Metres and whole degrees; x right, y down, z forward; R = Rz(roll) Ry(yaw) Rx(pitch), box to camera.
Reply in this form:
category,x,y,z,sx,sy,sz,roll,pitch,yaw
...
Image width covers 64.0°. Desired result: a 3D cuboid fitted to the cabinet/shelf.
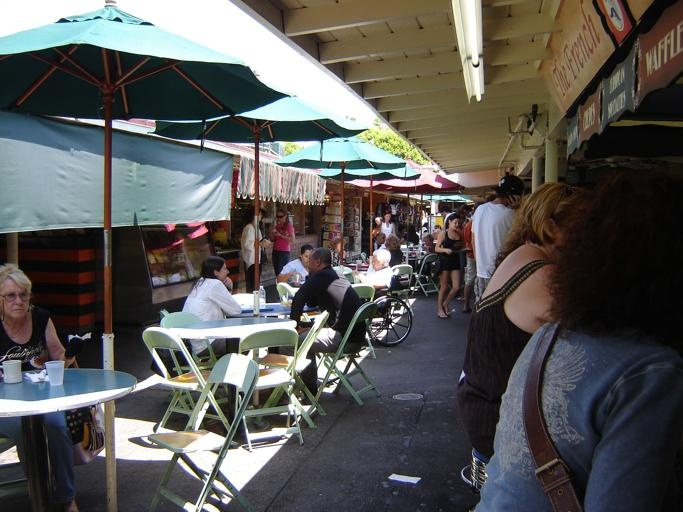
category,x,y,z,sx,sy,sz,roll,pitch,yaw
cabinet/shelf,-3.287,0.349,9.868,0.973,1.623,2.242,6,13,24

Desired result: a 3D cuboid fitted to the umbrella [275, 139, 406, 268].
category,x,y,z,sx,sy,sz,roll,pitch,yaw
umbrella,-0.139,-1.141,10.511,1.874,2.377,2.242,4,6,20
